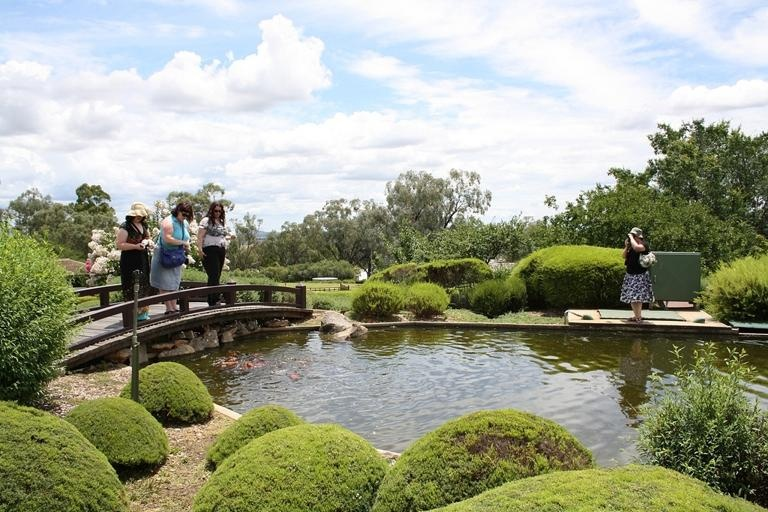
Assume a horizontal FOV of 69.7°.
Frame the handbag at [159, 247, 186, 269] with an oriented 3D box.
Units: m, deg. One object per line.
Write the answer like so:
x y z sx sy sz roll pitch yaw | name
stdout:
-4.881 0.007 12.674 0.439 0.448 0.200 -4 10 -41 | handbag

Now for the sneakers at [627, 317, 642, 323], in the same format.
7.068 1.801 15.686 0.175 0.101 0.377 -3 -7 -1 | sneakers

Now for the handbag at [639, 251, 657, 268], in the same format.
7.072 0.101 14.995 0.408 0.581 0.298 -2 -2 -5 | handbag

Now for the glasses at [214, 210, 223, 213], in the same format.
-4.133 -1.144 13.870 0.096 0.115 0.193 2 6 27 | glasses

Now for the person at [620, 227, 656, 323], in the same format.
7.039 0.498 15.405 0.762 2.653 1.424 2 7 25 | person
